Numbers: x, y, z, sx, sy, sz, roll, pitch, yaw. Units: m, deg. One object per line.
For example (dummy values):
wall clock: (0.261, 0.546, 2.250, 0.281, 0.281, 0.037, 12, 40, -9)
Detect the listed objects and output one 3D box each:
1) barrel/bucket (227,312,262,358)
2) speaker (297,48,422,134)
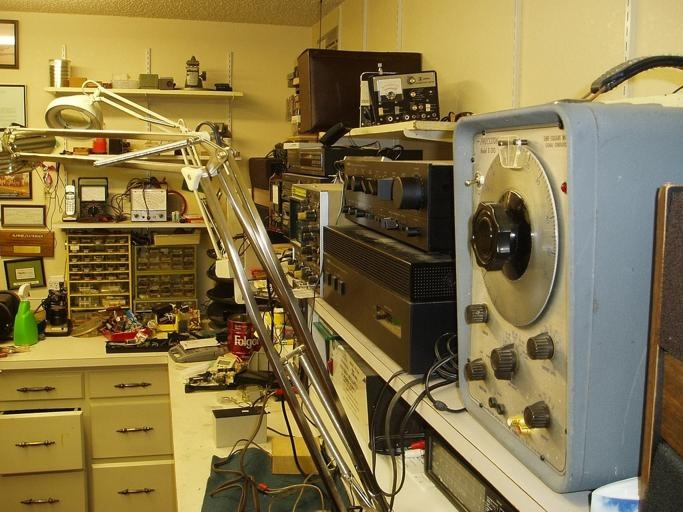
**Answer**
barrel/bucket: (-0.464, 0.377, 2.805, 0.133, 0.178, 0.298, -7, 12, -16)
speaker: (0.104, -0.721, 2.529, 0.445, 0.324, 0.264, 2, 28, 9)
